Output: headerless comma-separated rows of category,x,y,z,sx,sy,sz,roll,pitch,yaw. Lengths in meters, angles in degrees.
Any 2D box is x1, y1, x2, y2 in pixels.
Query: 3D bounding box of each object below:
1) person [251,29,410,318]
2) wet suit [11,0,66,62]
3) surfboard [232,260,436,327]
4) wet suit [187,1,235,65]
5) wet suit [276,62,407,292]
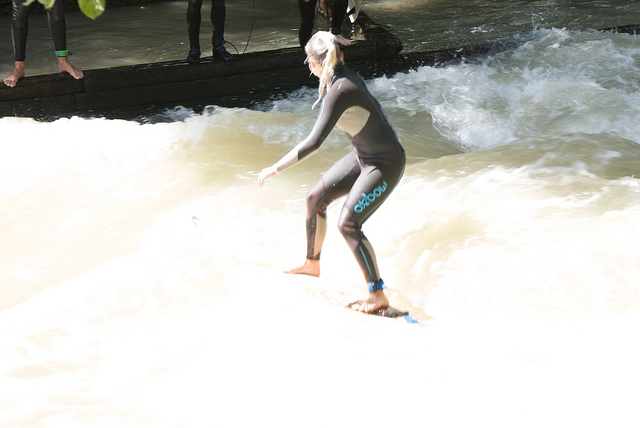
person,0.154,-0.283,4.558,0.895,2.161,0.832,9,33,22
wet suit,-3.827,-2.503,7.974,0.762,0.819,0.505,-12,30,-17
surfboard,0.231,0.682,4.954,1.974,0.082,0.520,12,15,14
wet suit,-1.672,-2.716,8.663,0.689,0.896,0.445,-6,30,-5
wet suit,0.216,-0.290,4.653,0.751,1.745,0.651,8,32,20
